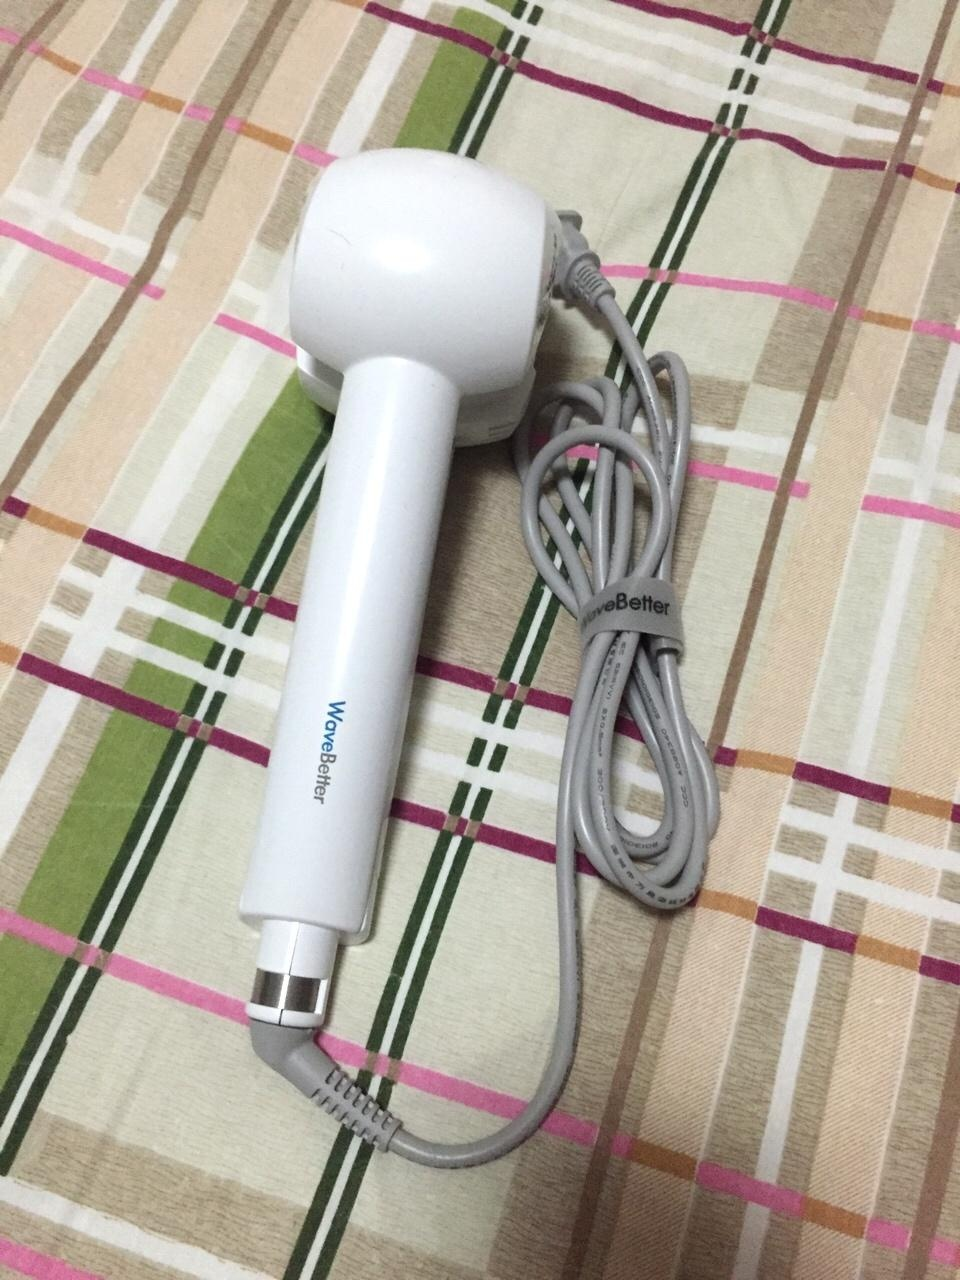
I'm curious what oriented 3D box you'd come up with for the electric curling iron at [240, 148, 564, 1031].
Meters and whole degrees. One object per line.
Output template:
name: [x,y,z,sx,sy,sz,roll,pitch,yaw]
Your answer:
electric curling iron: [-0.046,-0.019,0.639,0.141,0.392,0.122,11,-1,3]
